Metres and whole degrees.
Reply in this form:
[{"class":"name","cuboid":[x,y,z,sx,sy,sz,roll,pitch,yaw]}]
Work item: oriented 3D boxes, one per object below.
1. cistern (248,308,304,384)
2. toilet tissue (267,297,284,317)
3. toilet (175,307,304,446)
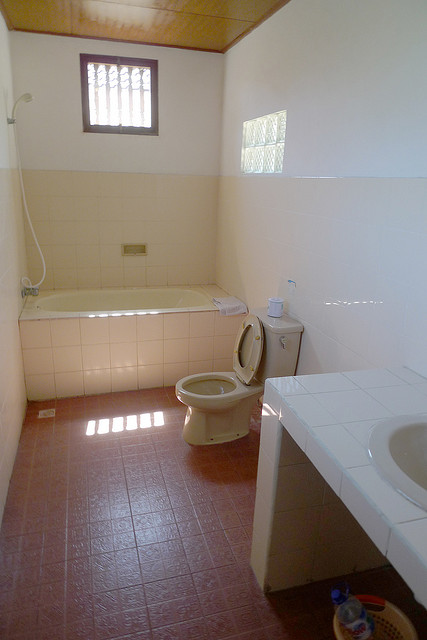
[{"class":"cistern","cuboid":[0.368,0.155,2.627,0.283,0.485,0.498,-1,16,-9]},{"class":"toilet tissue","cuboid":[0.356,-0.073,2.498,0.090,0.104,0.094,6,24,0]},{"class":"toilet","cuboid":[0.102,0.341,2.543,0.646,0.755,0.486,-3,15,-17]}]
